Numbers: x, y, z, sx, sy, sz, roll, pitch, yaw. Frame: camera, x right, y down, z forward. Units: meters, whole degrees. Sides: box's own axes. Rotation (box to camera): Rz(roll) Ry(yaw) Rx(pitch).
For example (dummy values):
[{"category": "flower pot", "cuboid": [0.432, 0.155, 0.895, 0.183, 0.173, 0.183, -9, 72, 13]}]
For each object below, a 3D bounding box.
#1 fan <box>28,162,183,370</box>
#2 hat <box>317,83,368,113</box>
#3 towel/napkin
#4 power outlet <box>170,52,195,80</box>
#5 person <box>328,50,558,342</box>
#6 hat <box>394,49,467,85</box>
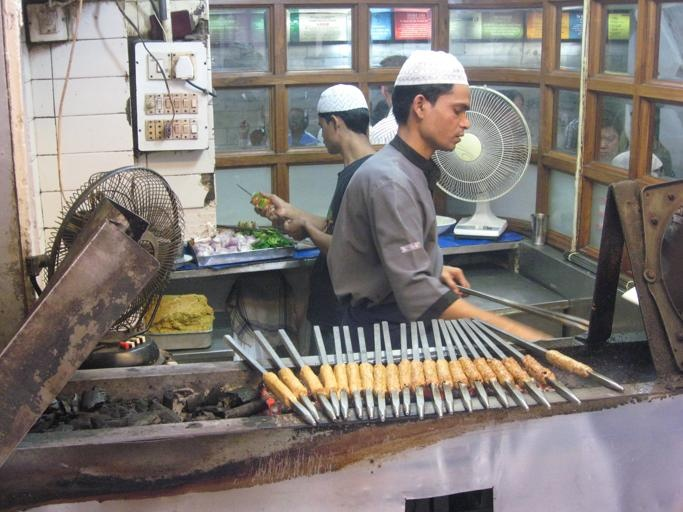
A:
[{"category": "fan", "cuboid": [-0.894, 0.083, 2.393, 0.348, 0.846, 0.806, 0, 11, 3]}, {"category": "hat", "cuboid": [0.001, -0.928, 3.621, 0.204, 0.146, 0.214, 9, 18, 35]}, {"category": "towel/napkin", "cuboid": [-0.526, 0.421, 4.059, 0.445, 0.639, 0.195, -1, -8, -26]}, {"category": "power outlet", "cuboid": [-0.991, -1.185, 3.815, 0.150, 0.157, 0.047, -4, 11, -15]}, {"category": "person", "cuboid": [0.326, -0.264, 2.631, 0.852, 1.217, 0.440, 6, 13, 33]}, {"category": "hat", "cuboid": [0.384, -0.788, 2.643, 0.195, 0.116, 0.208, 2, 13, 15]}]
